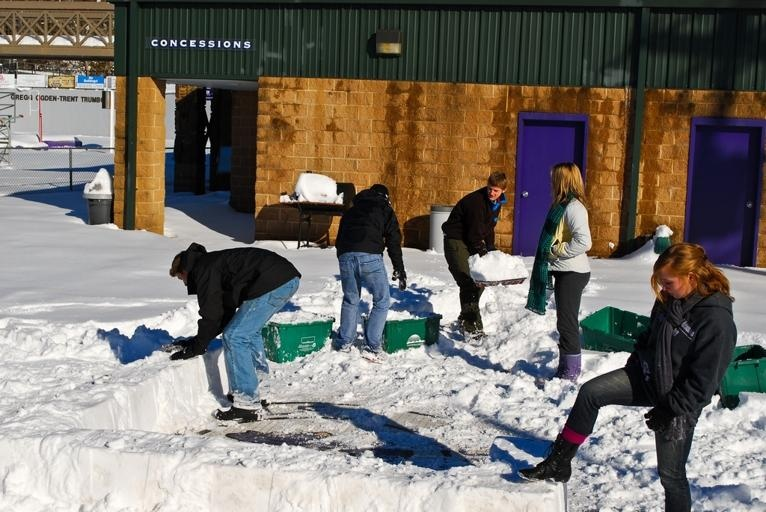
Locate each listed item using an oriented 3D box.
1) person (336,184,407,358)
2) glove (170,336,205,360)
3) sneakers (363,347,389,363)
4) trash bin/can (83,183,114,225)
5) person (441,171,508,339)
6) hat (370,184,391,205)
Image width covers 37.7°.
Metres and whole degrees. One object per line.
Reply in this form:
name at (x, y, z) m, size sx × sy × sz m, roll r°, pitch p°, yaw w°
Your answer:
person at (-0.226, 0.256, 18.116) m, size 1.056 × 2.717 × 0.569 m, roll 1°, pitch 7°, yaw -4°
glove at (-2.851, 1.308, 16.446) m, size 0.477 × 0.241 × 0.324 m, roll -1°, pitch 14°, yaw -7°
sneakers at (-0.121, 1.573, 18.130) m, size 0.378 × 0.231 × 0.184 m, roll 1°, pitch 8°, yaw 4°
trash bin/can at (-6.377, -1.153, 25.496) m, size 0.708 × 1.160 × 0.780 m, roll 0°, pitch -1°, yaw -2°
person at (1.491, -0.026, 18.781) m, size 0.996 × 2.744 × 0.599 m, roll 2°, pitch 7°, yaw 3°
hat at (-0.023, -0.997, 18.373) m, size 0.368 × 0.161 × 0.416 m, roll 34°, pitch 4°, yaw 5°
